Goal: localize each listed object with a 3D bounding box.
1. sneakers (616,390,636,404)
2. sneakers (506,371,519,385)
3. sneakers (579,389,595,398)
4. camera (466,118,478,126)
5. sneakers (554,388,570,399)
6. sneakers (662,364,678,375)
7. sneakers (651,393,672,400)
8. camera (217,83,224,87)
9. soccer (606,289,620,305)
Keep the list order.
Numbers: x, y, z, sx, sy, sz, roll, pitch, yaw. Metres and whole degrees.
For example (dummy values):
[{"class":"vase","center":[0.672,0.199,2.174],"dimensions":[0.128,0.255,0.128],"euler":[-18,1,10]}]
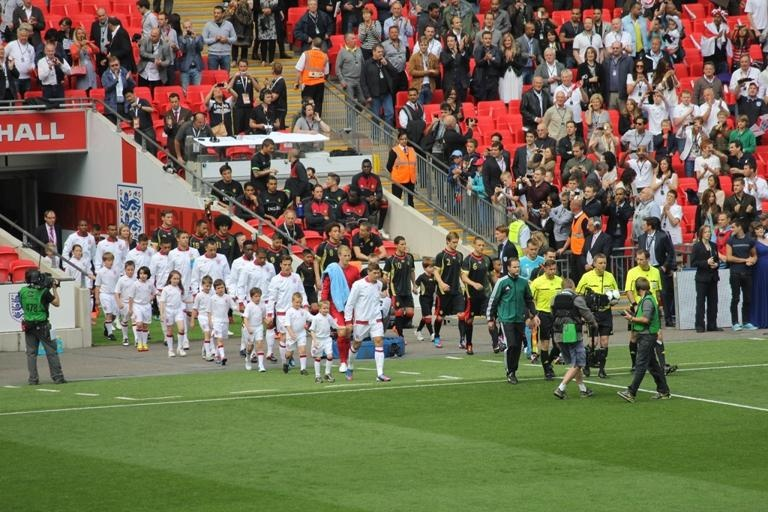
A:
[{"class":"sneakers","center":[5.094,2.901,32.813],"dimensions":[0.414,0.214,0.168],"euler":[29,-26,18]},{"class":"sneakers","center":[2.789,2.669,34.207],"dimensions":[0.248,0.297,0.682],"euler":[1,-4,-4]},{"class":"sneakers","center":[4.300,2.904,33.182],"dimensions":[0.287,0.126,0.111],"euler":[-8,14,-34]},{"class":"camera","center":[2.442,-3.696,43.291],"dimensions":[0.234,0.177,0.334],"euler":[2,3,1]},{"class":"sneakers","center":[3.721,2.902,32.970],"dimensions":[0.157,0.137,0.348],"euler":[-29,-25,19]},{"class":"sneakers","center":[6.394,2.513,34.742],"dimensions":[0.430,0.200,0.141],"euler":[-19,24,-33]},{"class":"sneakers","center":[5.882,2.960,33.076],"dimensions":[0.337,0.156,0.135],"euler":[1,1,-5]},{"class":"camera","center":[-4.665,-4.850,44.495],"dimensions":[0.156,0.042,0.173],"euler":[-1,16,-3]},{"class":"soccer","center":[4.993,0.910,33.958],"dimensions":[0.275,0.323,0.295],"euler":[0,4,-6]}]
